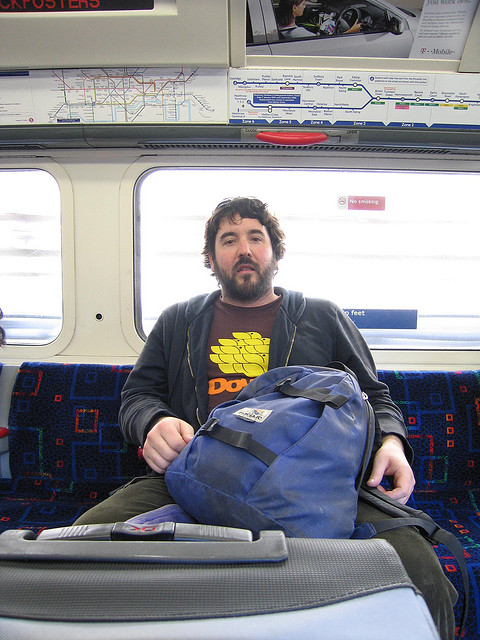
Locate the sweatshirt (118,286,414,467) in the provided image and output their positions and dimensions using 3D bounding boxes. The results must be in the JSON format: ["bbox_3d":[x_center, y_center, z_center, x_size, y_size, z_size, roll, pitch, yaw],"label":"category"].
[{"bbox_3d":[0.047,0.205,1.683,0.886,0.667,0.447,5,-2,-1],"label":"sweatshirt"}]

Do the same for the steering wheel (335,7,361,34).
[{"bbox_3d":[0.338,-0.946,1.619,0.078,0.063,0.034,2,9,11],"label":"steering wheel"}]

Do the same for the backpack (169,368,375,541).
[{"bbox_3d":[0.064,0.280,1.138,0.411,0.414,0.249,4,-25,49],"label":"backpack"}]

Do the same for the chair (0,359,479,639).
[{"bbox_3d":[-0.184,0.889,2.246,1.610,0.682,0.707,0,-45,6],"label":"chair"}]
